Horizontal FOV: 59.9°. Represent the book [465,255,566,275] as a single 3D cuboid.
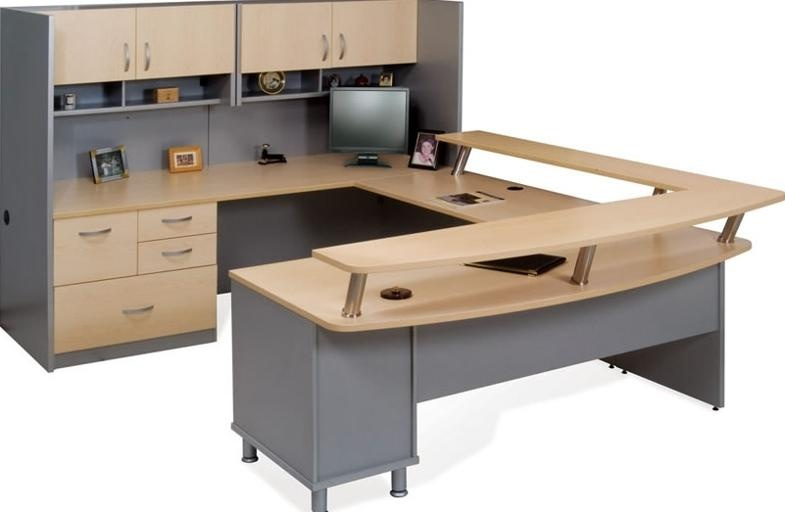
[{"bbox_3d":[0.739,0.044,3.770,0.225,0.023,0.240,-11,15,-39],"label":"book"}]
